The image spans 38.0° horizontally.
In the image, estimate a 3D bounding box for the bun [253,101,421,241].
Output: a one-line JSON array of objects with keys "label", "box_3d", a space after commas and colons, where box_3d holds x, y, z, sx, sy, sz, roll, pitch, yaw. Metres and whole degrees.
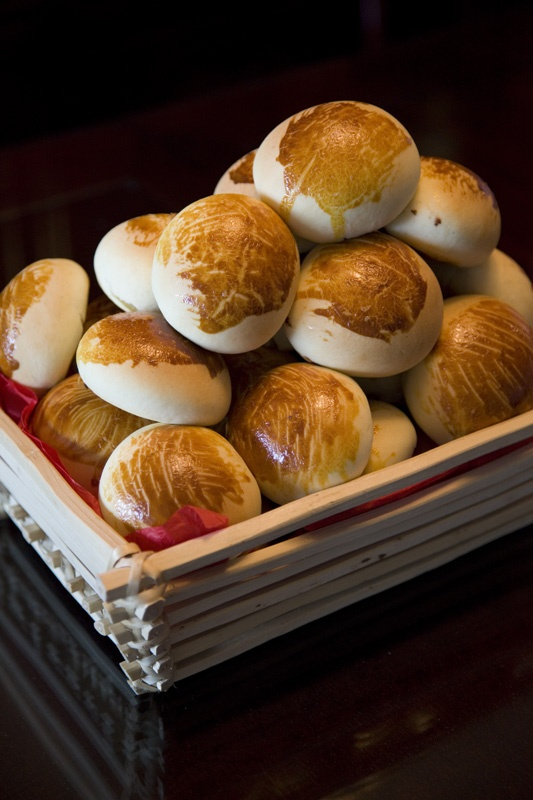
[{"label": "bun", "box_3d": [0.058, -0.187, 0.640, 0.127, 0.099, 0.105, -18, 37, -15]}]

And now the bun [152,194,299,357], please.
[{"label": "bun", "box_3d": [-0.026, -0.109, 0.612, 0.126, 0.079, 0.138, -2, 60, 3]}]

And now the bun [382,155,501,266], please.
[{"label": "bun", "box_3d": [0.170, -0.172, 0.702, 0.082, 0.053, 0.101, 40, 37, 15]}]
